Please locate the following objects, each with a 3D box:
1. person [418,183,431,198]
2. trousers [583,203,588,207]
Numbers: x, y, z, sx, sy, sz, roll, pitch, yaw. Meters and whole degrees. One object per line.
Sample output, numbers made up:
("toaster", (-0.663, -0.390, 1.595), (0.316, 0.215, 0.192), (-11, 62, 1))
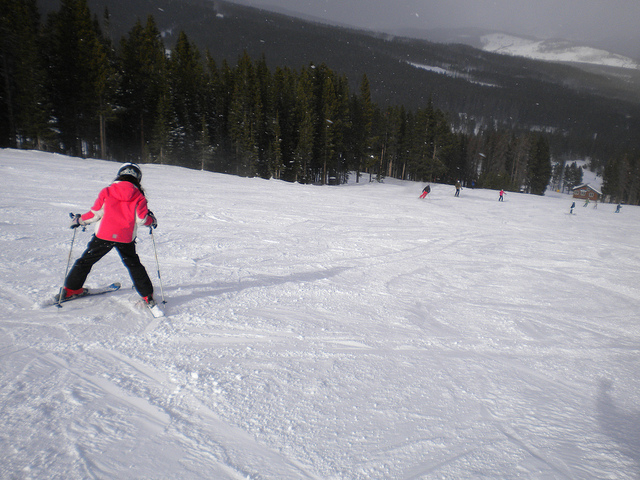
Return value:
("person", (8.239, -3.806, 44.926), (0.685, 1.025, 2.581), (9, 13, 9))
("trousers", (23.324, -3.073, 50.428), (0.305, 0.098, 0.325), (-43, 21, -24))
